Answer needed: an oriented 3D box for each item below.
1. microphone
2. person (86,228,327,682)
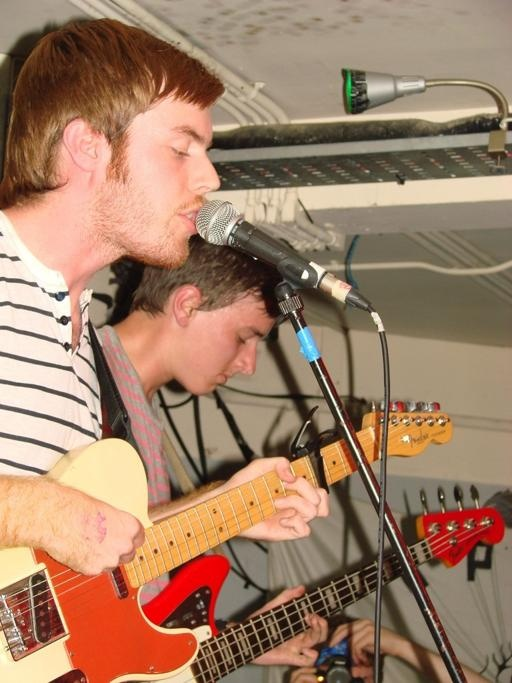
[{"bbox_3d":[0.029,-0.164,1.208,0.069,0.216,0.381,-32,28,-36],"label":"microphone"},{"bbox_3d":[-0.056,0.274,2.093,0.685,1.552,0.200,-20,16,-30],"label":"person"}]
